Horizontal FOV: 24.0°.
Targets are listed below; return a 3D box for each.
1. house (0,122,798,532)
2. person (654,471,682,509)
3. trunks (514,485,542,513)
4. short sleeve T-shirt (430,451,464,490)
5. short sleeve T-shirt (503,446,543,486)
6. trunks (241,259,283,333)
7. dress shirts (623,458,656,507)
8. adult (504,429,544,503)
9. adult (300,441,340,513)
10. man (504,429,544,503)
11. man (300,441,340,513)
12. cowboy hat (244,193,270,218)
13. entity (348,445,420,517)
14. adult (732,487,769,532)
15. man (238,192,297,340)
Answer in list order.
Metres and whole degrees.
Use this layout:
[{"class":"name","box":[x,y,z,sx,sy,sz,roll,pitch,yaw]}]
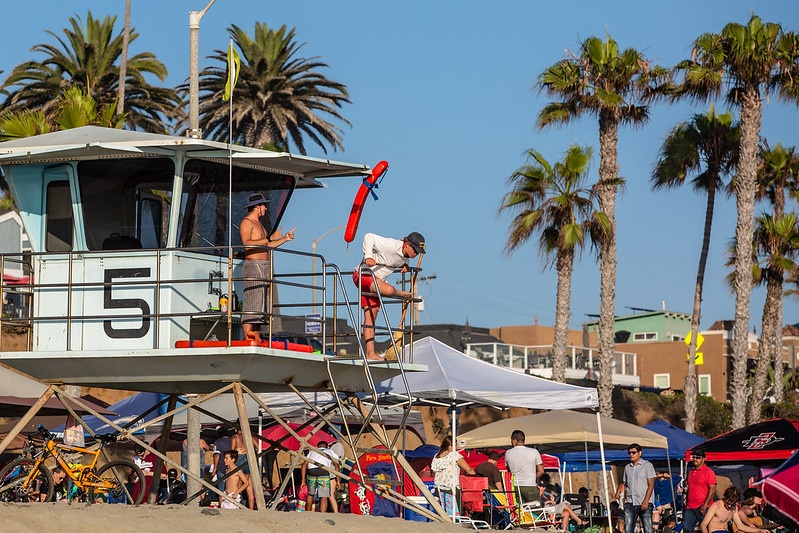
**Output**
[{"class":"house","box":[-1.198,2.602,55.664,14.165,7.763,14.125,3,-1,37]},{"class":"person","box":[8.402,7.035,59.538,1.098,1.122,0.623,-7,18,6]},{"class":"trunks","box":[3.779,6.751,54.831,0.935,0.818,0.568,0,-4,13]},{"class":"short sleeve T-shirt","box":[1.454,5.859,54.297,0.633,1.080,1.133,15,-20,-37]},{"class":"short sleeve T-shirt","box":[3.685,5.789,55.450,1.175,1.121,0.593,-5,15,9]},{"class":"trunks","box":[-3.868,0.908,52.609,1.084,1.920,4.042,3,-9,-4]},{"class":"dress shirts","box":[7.070,6.394,55.861,1.090,1.240,0.631,-12,-16,39]},{"class":"adult","box":[3.810,6.347,55.713,1.026,3.116,1.000,1,16,19]},{"class":"adult","box":[-2.330,6.261,55.575,1.027,2.306,0.813,6,7,9]},{"class":"man","box":[3.841,6.337,55.745,1.017,3.117,0.969,2,18,21]},{"class":"man","box":[-2.310,6.258,55.599,1.035,2.306,0.875,6,6,9]},{"class":"cowboy hat","box":[-4.030,-1.759,52.426,0.629,0.238,0.562,-22,-11,14]},{"class":"entity","box":[-0.496,6.328,56.858,1.960,1.642,1.919,-14,4,-38]},{"class":"adult","box":[10.310,7.148,55.292,0.753,1.485,0.348,0,12,7]},{"class":"man","box":[-3.725,0.066,51.862,1.369,4.094,1.377,4,5,16]}]
